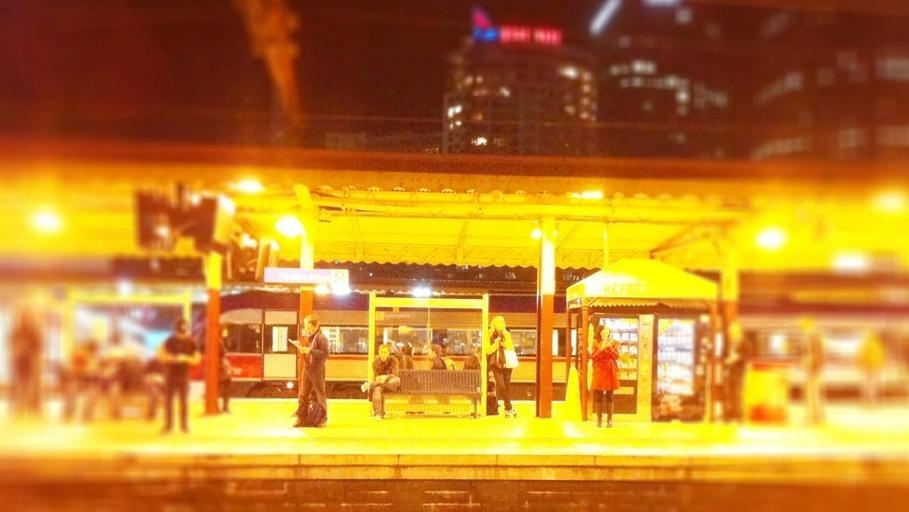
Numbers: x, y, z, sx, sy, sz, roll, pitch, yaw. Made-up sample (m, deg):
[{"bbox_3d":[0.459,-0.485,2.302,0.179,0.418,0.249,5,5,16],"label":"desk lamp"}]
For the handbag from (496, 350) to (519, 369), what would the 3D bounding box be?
[{"bbox_3d":[1.111,2.212,29.110,0.402,0.464,0.189,0,-17,-3],"label":"handbag"}]

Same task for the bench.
[{"bbox_3d":[-0.455,2.976,29.168,1.991,0.909,0.664,2,12,-15],"label":"bench"}]

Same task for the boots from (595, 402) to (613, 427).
[{"bbox_3d":[3.145,3.296,28.171,0.347,0.564,0.510,0,-17,1],"label":"boots"}]

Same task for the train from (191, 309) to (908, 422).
[{"bbox_3d":[2.117,2.362,28.747,18.846,3.016,2.190,0,-3,5],"label":"train"}]
